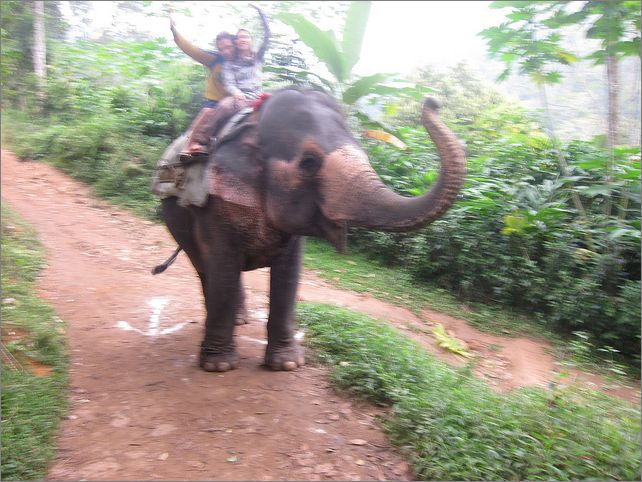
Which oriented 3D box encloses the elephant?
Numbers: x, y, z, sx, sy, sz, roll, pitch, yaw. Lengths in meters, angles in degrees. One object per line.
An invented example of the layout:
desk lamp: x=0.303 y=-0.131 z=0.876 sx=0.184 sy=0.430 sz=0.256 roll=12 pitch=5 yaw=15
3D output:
elephant: x=-0.431 y=-0.042 z=4.453 sx=1.455 sy=1.757 sz=3.338 roll=8 pitch=-9 yaw=-37
